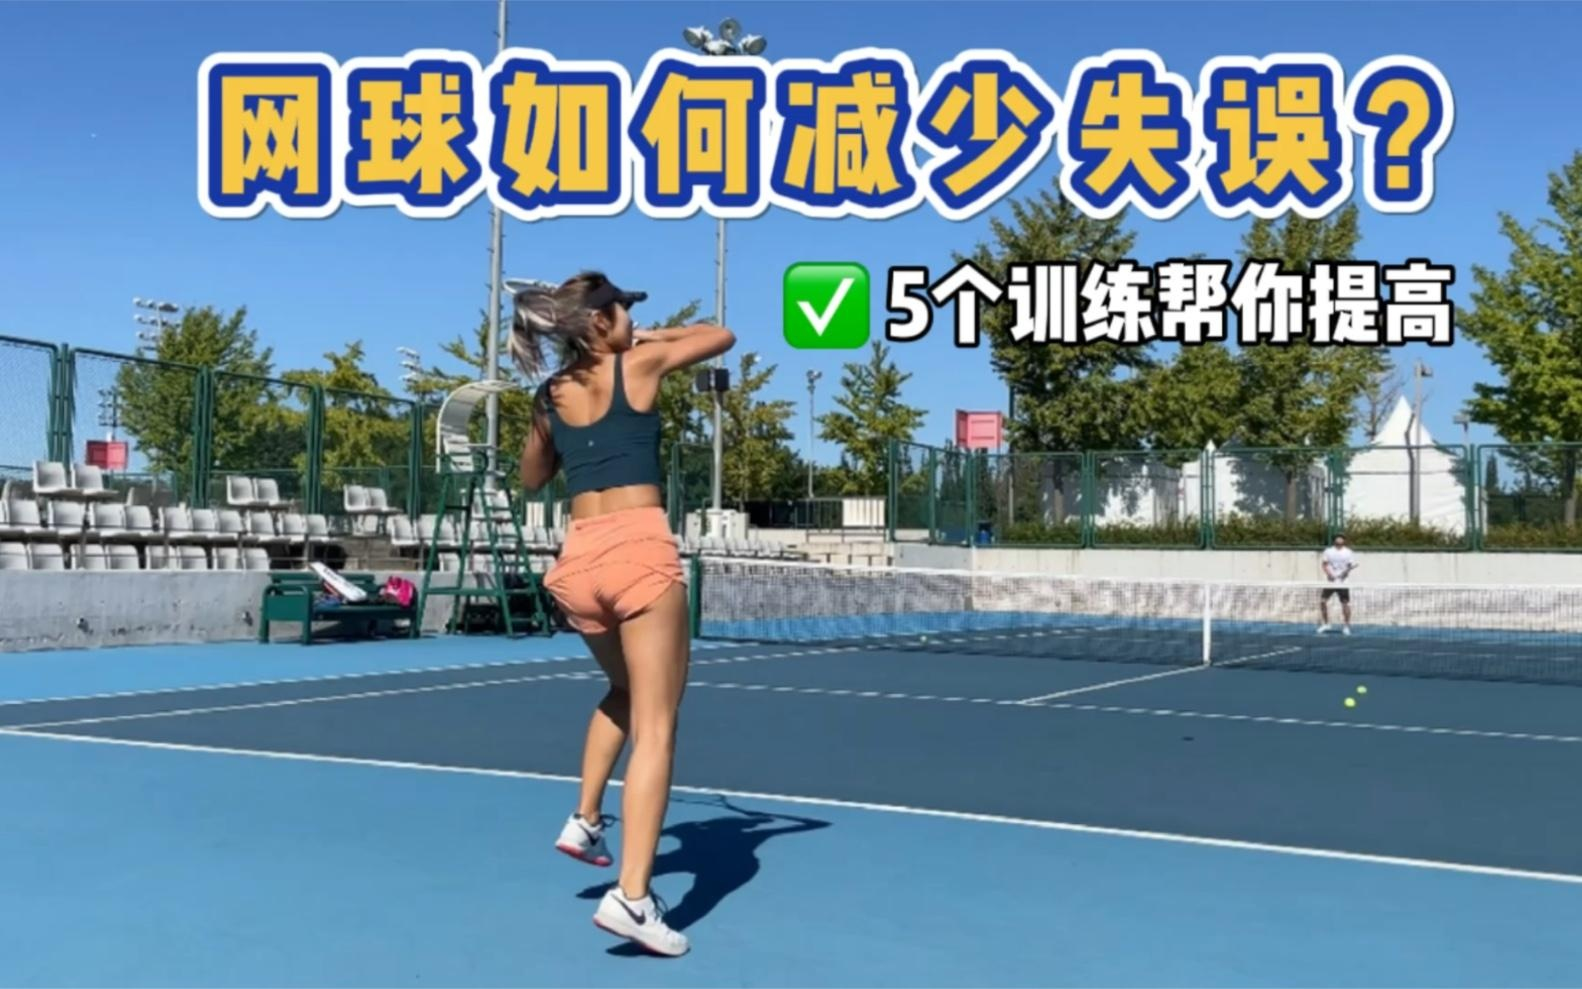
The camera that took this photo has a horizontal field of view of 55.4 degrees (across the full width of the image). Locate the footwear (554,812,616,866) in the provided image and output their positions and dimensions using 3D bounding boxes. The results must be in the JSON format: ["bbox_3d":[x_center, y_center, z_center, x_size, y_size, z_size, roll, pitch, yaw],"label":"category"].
[{"bbox_3d":[-1.233,2.182,9.454,0.204,0.245,0.527,13,-14,33],"label":"footwear"}]

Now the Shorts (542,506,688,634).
[{"bbox_3d":[-1.014,0.496,9.031,0.919,0.777,0.514,-19,-26,38],"label":"Shorts"}]

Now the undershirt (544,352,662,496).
[{"bbox_3d":[-1.089,-0.440,8.913,0.662,0.918,0.475,-16,-5,13],"label":"undershirt"}]
